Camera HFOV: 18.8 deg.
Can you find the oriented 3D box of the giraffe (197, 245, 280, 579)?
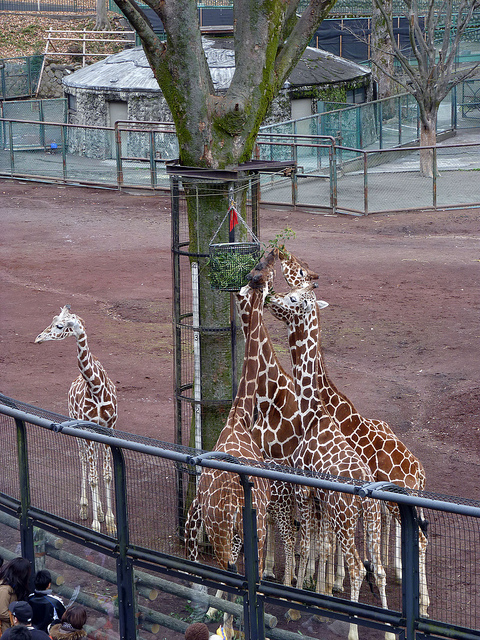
[{"bbox_3d":[-0.014,0.783,11.105,0.645,2.477,1.483,-1,10,1],"label":"giraffe"}]

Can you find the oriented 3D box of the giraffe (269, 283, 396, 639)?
[{"bbox_3d":[0.689,1.085,11.166,0.748,2.563,1.432,-3,10,-12],"label":"giraffe"}]
